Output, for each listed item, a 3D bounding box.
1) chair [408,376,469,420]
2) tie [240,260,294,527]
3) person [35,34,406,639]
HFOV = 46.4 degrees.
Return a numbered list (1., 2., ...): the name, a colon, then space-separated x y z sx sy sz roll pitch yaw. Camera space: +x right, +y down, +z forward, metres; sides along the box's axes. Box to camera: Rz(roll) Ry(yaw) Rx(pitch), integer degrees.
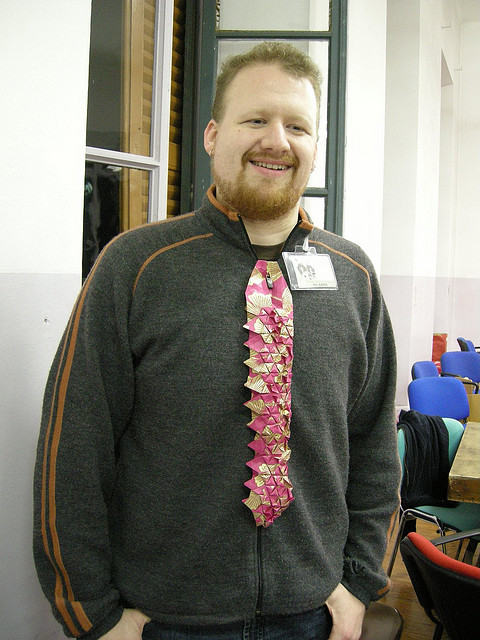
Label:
1. chair: 1.158 0.474 3.291 0.526 0.247 0.175 -2 5 -38
2. tie: 0.047 0.112 0.919 0.080 0.417 0.147 1 4 1
3. person: 0.014 0.038 0.954 0.687 1.009 0.237 -1 5 -26
